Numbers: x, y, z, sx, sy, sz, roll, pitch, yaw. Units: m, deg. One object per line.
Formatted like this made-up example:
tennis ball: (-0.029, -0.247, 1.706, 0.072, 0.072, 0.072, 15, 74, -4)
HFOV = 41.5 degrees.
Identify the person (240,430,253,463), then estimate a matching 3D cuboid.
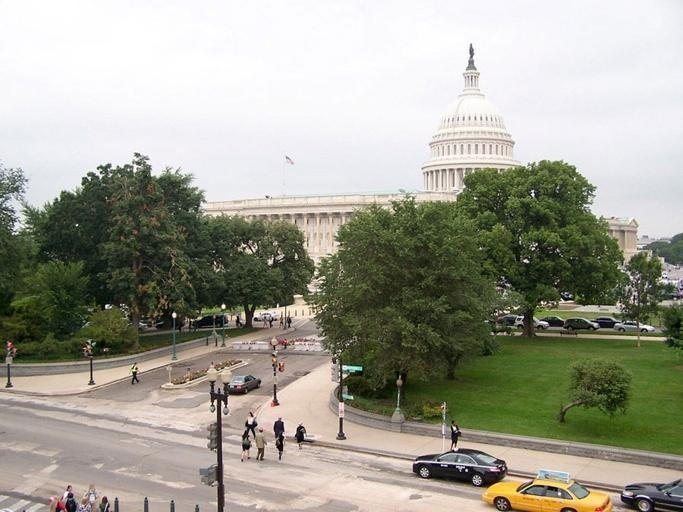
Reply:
person: (-6.056, 12.121, 57.703, 0.519, 1.810, 1.068, 1, -2, -7)

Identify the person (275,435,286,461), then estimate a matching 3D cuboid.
person: (-3.876, 12.199, 57.837, 0.495, 1.680, 1.257, 1, -2, -6)

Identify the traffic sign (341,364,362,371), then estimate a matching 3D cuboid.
traffic sign: (0.803, 7.856, 62.408, 1.088, 0.423, 2.384, 1, -3, -5)

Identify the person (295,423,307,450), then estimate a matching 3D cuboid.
person: (-2.675, 11.991, 59.862, 0.624, 1.507, 1.926, 1, -2, -3)

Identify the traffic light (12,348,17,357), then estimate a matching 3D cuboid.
traffic light: (-27.844, 8.414, 77.428, 0.267, 0.881, 2.131, 1, -3, -19)

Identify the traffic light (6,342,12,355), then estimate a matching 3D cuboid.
traffic light: (-27.988, 7.930, 76.608, 0.446, 1.095, 2.122, 1, -3, -21)

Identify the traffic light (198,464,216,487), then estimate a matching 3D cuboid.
traffic light: (-7.160, 11.909, 48.565, 0.804, 1.083, 1.244, -1, -3, 35)

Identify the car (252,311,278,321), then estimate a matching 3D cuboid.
car: (-9.505, 7.657, 112.425, 2.386, 0.769, 1.489, 2, -2, 3)

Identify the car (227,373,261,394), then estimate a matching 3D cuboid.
car: (-7.729, 10.312, 72.015, 1.269, 1.383, 3.084, -1, -3, 27)

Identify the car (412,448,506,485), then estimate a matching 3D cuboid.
car: (7.281, 12.910, 54.812, 5.061, 1.672, 2.080, 2, -1, 20)
